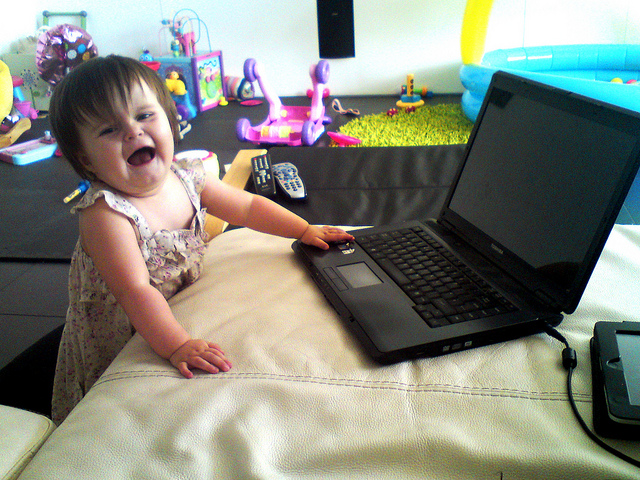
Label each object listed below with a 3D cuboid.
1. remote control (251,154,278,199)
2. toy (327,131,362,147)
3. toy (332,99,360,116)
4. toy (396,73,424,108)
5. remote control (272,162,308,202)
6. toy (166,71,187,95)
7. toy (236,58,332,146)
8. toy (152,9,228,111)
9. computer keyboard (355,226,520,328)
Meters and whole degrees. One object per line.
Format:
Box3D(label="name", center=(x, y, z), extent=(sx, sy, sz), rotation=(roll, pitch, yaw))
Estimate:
Box3D(label="remote control", center=(-0.153, -0.173, 1.293), extent=(0.056, 0.017, 0.144), rotation=(-15, 56, 2))
Box3D(label="toy", center=(0.138, -0.533, 2.554), extent=(0.181, 0.079, 0.127), rotation=(-7, 36, -5))
Box3D(label="toy", center=(0.181, -0.933, 3.453), extent=(0.174, 0.082, 0.167), rotation=(8, 24, 4))
Box3D(label="toy", center=(0.651, -1.095, 3.497), extent=(0.203, 0.216, 0.209), rotation=(-14, 31, -13))
Box3D(label="remote control", center=(-0.091, -0.162, 1.345), extent=(0.080, 0.035, 0.200), rotation=(-13, 34, -14))
Box3D(label="toy", center=(-1.002, -1.077, 3.367), extent=(0.121, 0.142, 0.235), rotation=(-13, 37, -13))
Box3D(label="toy", center=(-0.196, -0.807, 2.760), extent=(0.473, 0.475, 0.471), rotation=(10, 26, 21))
Box3D(label="toy", center=(-0.984, -1.354, 3.657), extent=(0.491, 0.631, 0.688), rotation=(-10, 35, -9))
Box3D(label="computer keyboard", center=(0.175, 0.048, 0.799), extent=(0.138, 0.038, 0.309), rotation=(-14, 37, -13))
